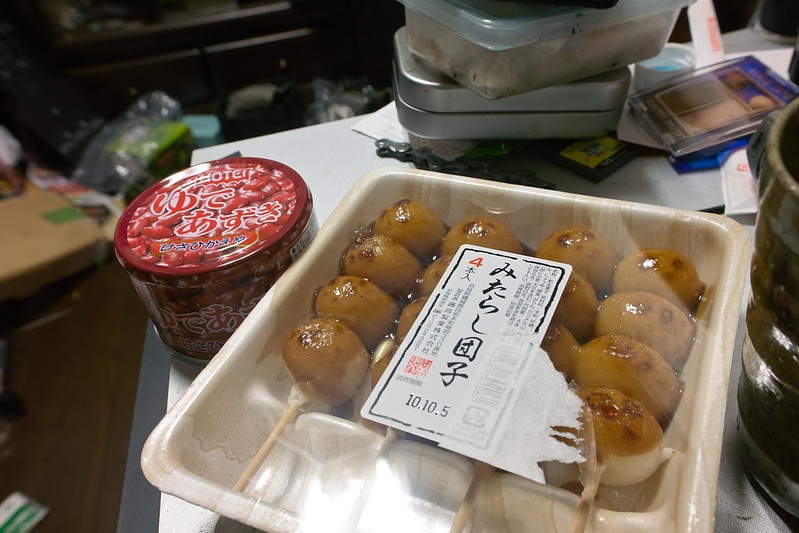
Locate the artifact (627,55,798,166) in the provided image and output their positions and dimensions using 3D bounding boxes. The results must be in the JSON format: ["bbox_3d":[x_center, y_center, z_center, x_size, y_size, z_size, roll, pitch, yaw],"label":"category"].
[{"bbox_3d":[0.633,-0.288,1.225,0.283,0.075,0.196,-23,56,-7],"label":"artifact"}]

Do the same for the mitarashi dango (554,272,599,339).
[{"bbox_3d":[0.230,0.054,0.790,0.061,0.044,0.082,3,82,-6],"label":"mitarashi dango"}]

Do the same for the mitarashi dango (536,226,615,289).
[{"bbox_3d":[0.253,-0.012,0.863,0.084,0.085,0.088,-3,89,-1],"label":"mitarashi dango"}]

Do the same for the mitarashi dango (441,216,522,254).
[{"bbox_3d":[0.116,-0.043,0.838,0.060,0.049,0.078,-22,28,-16],"label":"mitarashi dango"}]

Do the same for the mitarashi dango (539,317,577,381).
[{"bbox_3d":[0.205,0.109,0.766,0.042,0.072,0.072,-33,71,6],"label":"mitarashi dango"}]

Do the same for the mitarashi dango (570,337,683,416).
[{"bbox_3d":[0.296,0.133,0.777,0.127,0.078,0.100,10,26,14],"label":"mitarashi dango"}]

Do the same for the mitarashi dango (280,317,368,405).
[{"bbox_3d":[-0.115,0.140,0.832,0.104,0.099,0.121,9,35,-24],"label":"mitarashi dango"}]

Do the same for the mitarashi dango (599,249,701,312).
[{"bbox_3d":[0.345,0.012,0.799,0.078,0.056,0.098,-12,41,-1],"label":"mitarashi dango"}]

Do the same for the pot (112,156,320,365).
[{"bbox_3d":[-0.286,-0.039,1.019,0.291,0.204,0.317,-3,49,3],"label":"pot"}]
